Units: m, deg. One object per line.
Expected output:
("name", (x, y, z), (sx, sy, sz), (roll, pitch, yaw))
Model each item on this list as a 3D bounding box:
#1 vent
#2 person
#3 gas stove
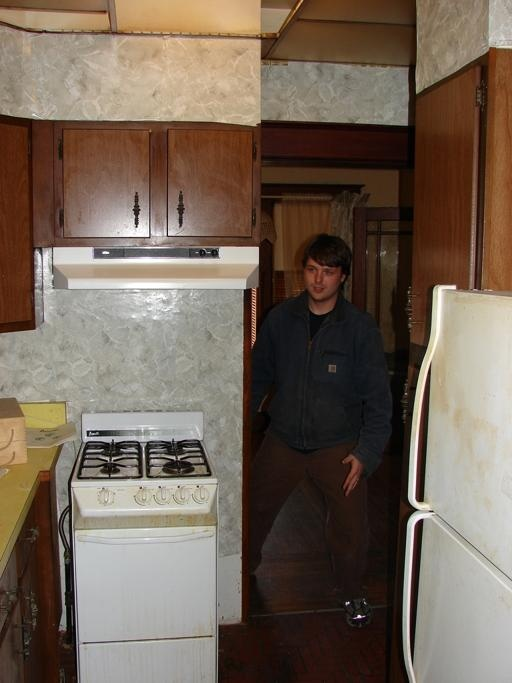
("vent", (-0.346, -0.257, 1.889), (0.715, 0.165, 0.174), (1, 3, -5))
("person", (0.221, 0.432, 2.447), (0.671, 1.790, 0.516), (8, 15, 23))
("gas stove", (-0.396, 0.462, 1.949), (0.453, 0.139, 0.517), (0, 3, -12))
